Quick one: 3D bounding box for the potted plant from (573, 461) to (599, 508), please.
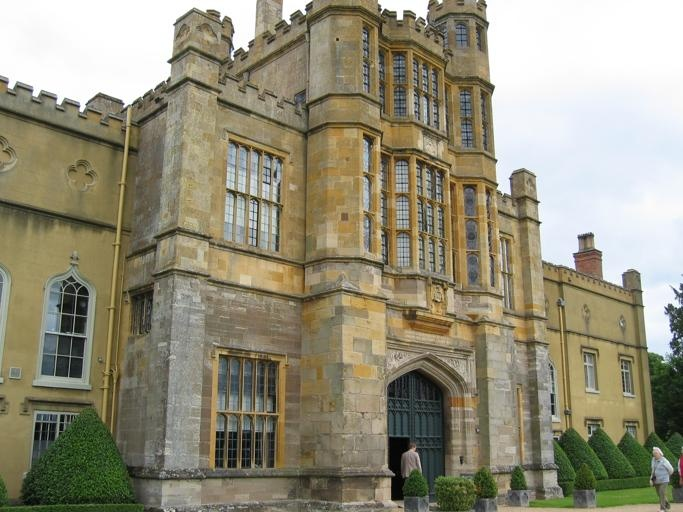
[{"bbox_3d":[7.989,7.628,22.009,0.741,1.407,0.651,-6,-20,14],"label":"potted plant"}]
